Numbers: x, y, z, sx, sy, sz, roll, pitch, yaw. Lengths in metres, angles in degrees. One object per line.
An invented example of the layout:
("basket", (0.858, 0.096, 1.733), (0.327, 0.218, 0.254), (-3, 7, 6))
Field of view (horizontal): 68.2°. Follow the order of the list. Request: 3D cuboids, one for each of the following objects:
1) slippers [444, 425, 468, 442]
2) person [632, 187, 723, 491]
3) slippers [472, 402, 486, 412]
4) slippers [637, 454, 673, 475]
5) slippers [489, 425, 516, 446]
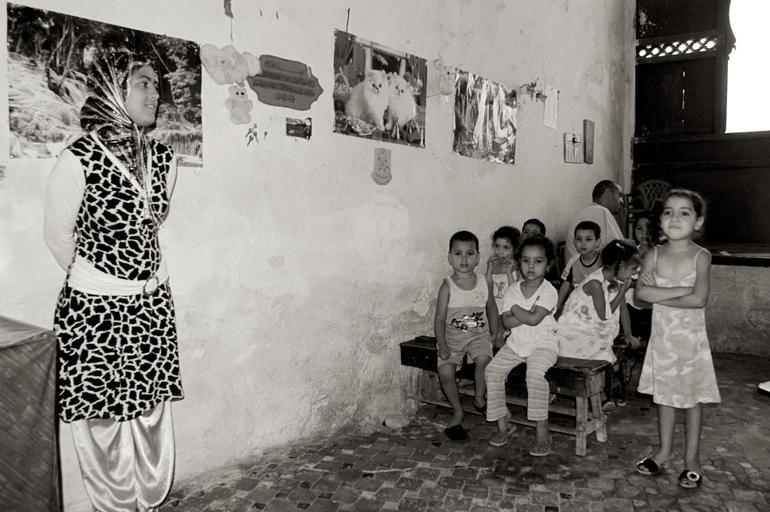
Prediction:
("slippers", (0.612, 1.507, 4.851), (0.209, 0.084, 0.141), (2, 12, 5))
("person", (2.225, 0.577, 4.287), (0.602, 2.113, 0.762), (2, 12, 9))
("slippers", (0.833, 1.333, 5.014), (0.052, 0.053, 0.144), (-3, 1, -26))
("slippers", (2.070, 1.575, 4.347), (0.239, 0.067, 0.117), (-14, 13, -14))
("slippers", (1.010, 1.514, 4.831), (0.099, 0.087, 0.288), (-2, 0, 37))
